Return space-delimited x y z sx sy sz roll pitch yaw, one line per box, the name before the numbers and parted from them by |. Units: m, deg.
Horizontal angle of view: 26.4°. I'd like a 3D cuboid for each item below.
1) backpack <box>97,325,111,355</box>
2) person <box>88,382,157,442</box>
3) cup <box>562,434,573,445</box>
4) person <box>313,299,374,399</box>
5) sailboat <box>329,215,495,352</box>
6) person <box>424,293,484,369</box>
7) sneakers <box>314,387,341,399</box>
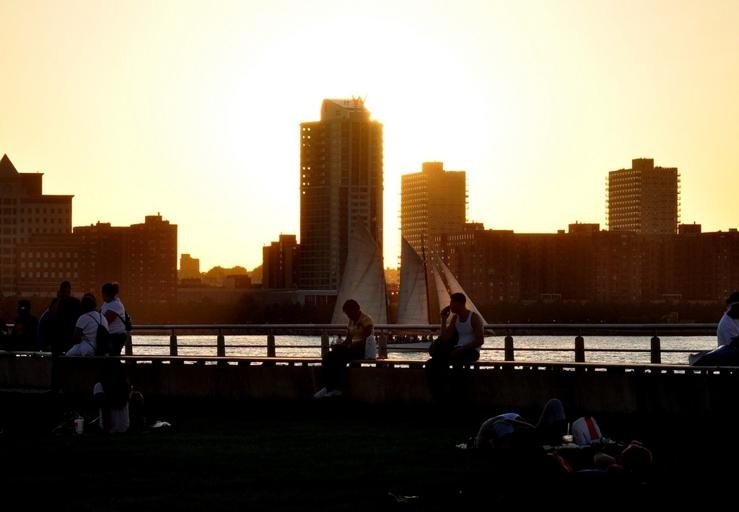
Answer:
backpack | -5.106 1.608 29.972 0.219 0.584 0.357 -1 0 -4
person | -4.675 2.891 29.515 0.806 1.215 1.171 -2 1 -4
cup | 3.265 3.039 25.907 0.187 0.126 0.341 -2 -1 1
person | -0.500 1.834 30.690 1.141 1.921 0.659 -1 0 -3
sailboat | 2.106 1.384 79.936 7.753 5.998 1.114 5 -1 -21
person | 1.640 1.403 29.653 1.036 1.335 0.875 -1 -5 29
sneakers | -0.822 2.685 30.699 0.546 0.228 0.199 -1 -7 6
